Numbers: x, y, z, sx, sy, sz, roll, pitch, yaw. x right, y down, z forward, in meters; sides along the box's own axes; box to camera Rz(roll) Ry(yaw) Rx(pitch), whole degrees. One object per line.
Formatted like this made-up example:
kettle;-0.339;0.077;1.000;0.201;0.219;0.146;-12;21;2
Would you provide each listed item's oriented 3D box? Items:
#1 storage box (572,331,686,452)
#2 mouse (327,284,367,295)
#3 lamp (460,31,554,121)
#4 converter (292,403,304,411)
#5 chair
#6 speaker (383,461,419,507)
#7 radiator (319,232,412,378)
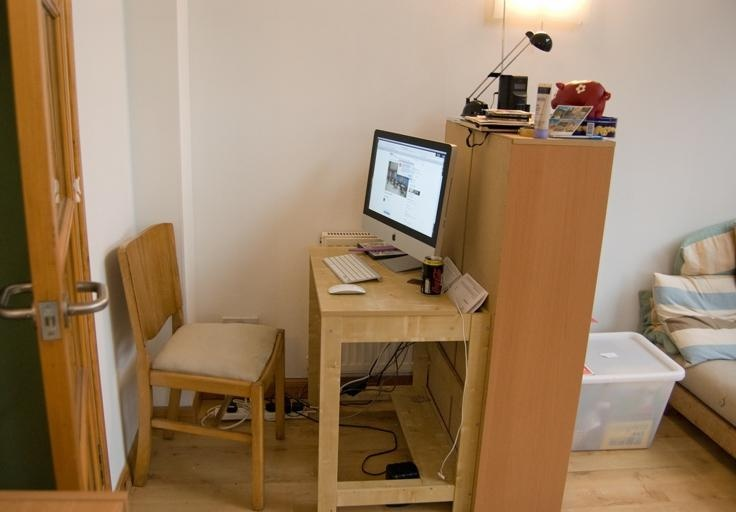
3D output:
storage box;1.370;0.748;3.382;0.581;0.468;0.689;0;12;2
mouse;-0.098;0.149;2.613;0.130;0.026;0.062;2;12;-9
lamp;0.695;-0.939;3.054;0.369;0.412;0.796;6;18;9
converter;-0.401;0.865;3.442;0.034;0.042;0.060;4;-2;-16
chair;-0.815;0.484;2.972;0.760;1.193;0.804;3;19;1
speaker;0.155;1.083;2.882;0.187;0.165;0.185;-1;6;-5
radiator;-0.053;0.206;3.652;0.707;0.555;1.048;-1;22;-12
